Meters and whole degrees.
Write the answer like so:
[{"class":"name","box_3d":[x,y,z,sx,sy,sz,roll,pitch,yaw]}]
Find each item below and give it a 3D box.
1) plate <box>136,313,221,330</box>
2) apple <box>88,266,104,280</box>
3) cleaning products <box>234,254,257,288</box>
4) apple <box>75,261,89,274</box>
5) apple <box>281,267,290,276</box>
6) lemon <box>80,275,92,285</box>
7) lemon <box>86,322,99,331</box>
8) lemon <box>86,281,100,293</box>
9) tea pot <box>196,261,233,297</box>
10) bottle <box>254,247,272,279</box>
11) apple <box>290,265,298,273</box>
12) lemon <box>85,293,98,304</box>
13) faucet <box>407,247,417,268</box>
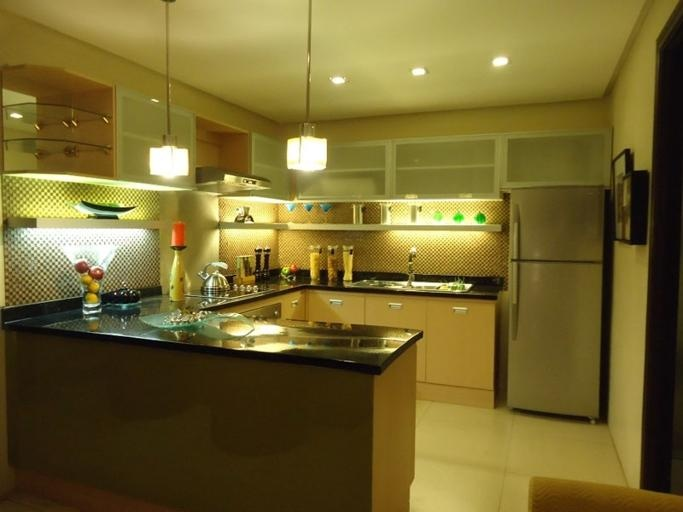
[{"class":"plate","box_3d":[-1.033,0.405,3.448,0.452,0.077,0.276,-2,11,-13]},{"class":"apple","box_3d":[-1.820,0.124,3.996,0.084,0.091,0.088,4,1,-28]},{"class":"cleaning products","box_3d":[-1.018,0.161,5.602,0.108,0.310,0.317,1,-1,17]},{"class":"apple","box_3d":[-1.907,0.079,3.961,0.092,0.095,0.040,-5,11,-29]},{"class":"apple","box_3d":[-0.661,0.175,6.338,0.087,0.086,0.121,2,10,5]},{"class":"lemon","box_3d":[-1.881,0.171,3.964,0.066,0.068,0.076,20,-16,-22]},{"class":"lemon","box_3d":[-1.652,0.462,3.581,0.071,0.055,0.070,1,2,3]},{"class":"lemon","box_3d":[-1.834,0.227,3.987,0.071,0.075,0.072,2,-6,17]},{"class":"tea pot","box_3d":[-1.215,0.195,5.093,0.321,0.299,0.258,5,7,17]},{"class":"bottle","box_3d":[-0.890,0.047,6.029,0.156,0.342,0.407,0,10,-5]},{"class":"apple","box_3d":[-0.561,0.154,6.376,0.080,0.082,0.094,28,-7,19]},{"class":"lemon","box_3d":[-1.850,0.309,3.987,0.104,0.081,0.036,-4,11,-26]},{"class":"faucet","box_3d":[0.752,0.019,5.787,0.103,0.220,0.300,2,10,8]}]
